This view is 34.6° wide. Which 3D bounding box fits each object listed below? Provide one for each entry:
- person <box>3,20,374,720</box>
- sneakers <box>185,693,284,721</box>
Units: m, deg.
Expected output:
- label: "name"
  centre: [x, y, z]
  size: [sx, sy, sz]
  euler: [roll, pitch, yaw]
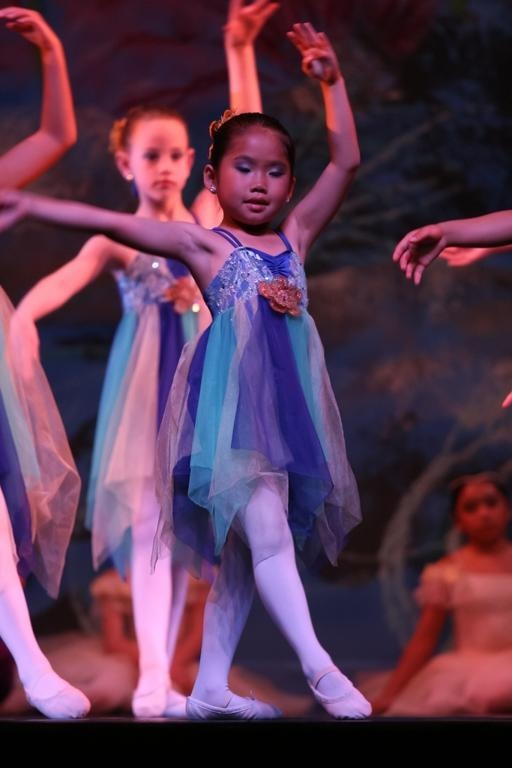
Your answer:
- label: "person"
  centre: [-0.058, -0.063, 1.334]
  size: [0.567, 1.031, 0.704]
  euler: [4, 19, 9]
- label: "sneakers"
  centre: [-0.036, 0.472, 1.220]
  size: [0.144, 0.050, 0.048]
  euler: [-5, -14, 13]
